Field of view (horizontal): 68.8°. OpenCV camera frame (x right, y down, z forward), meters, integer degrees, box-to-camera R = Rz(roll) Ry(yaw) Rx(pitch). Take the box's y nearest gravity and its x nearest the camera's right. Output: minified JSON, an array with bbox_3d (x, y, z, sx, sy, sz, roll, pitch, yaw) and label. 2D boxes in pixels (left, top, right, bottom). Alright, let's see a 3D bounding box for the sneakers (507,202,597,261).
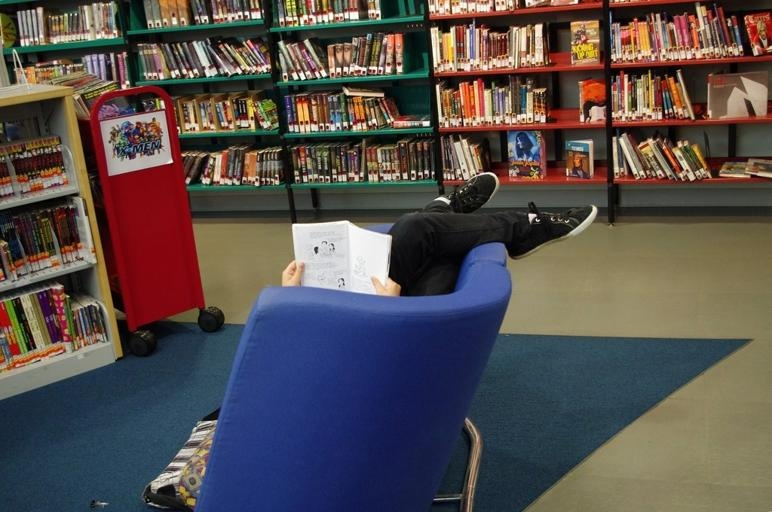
[{"bbox_3d":[0.816,-0.179,2.832,0.493,0.201,0.163,-26,13,-10],"label":"sneakers"}]
